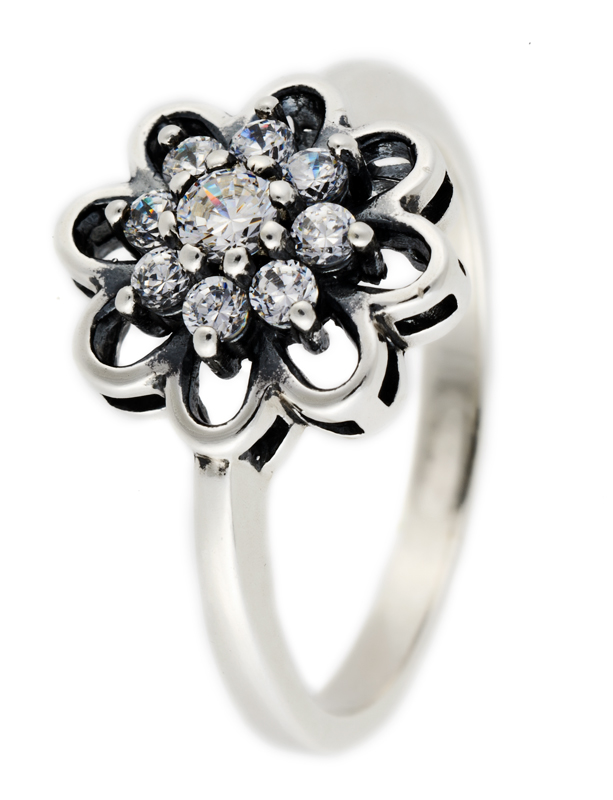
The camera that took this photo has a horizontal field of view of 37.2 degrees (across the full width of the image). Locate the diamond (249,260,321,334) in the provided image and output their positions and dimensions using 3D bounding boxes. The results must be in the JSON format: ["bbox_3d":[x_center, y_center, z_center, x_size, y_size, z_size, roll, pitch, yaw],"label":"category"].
[{"bbox_3d":[-0.042,-0.182,1.536,0.085,0.109,0.096,-10,-10,40],"label":"diamond"}]

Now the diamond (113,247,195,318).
[{"bbox_3d":[-0.257,-0.214,1.653,0.138,0.100,0.066,-40,0,12],"label":"diamond"}]
